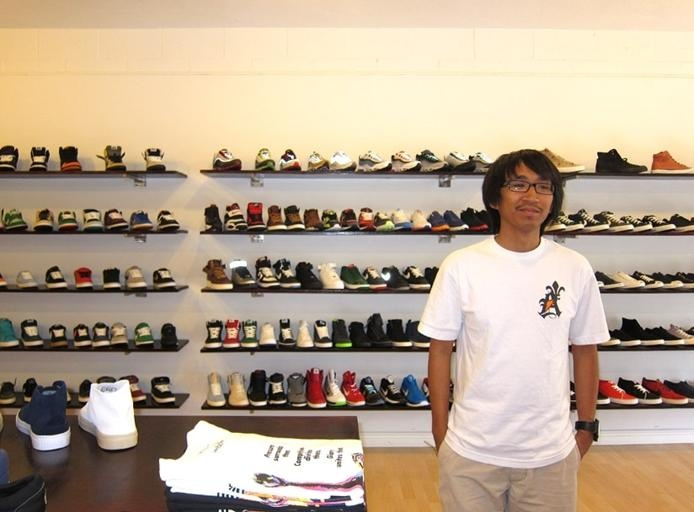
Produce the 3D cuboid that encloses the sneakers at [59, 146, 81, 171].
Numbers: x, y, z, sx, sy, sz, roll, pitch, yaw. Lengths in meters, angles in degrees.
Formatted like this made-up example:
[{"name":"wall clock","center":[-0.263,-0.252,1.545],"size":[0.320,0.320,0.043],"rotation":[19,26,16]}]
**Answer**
[{"name":"sneakers","center":[-2.189,-0.770,4.974],"size":[0.116,0.144,0.333],"rotation":[0,2,-21]}]
